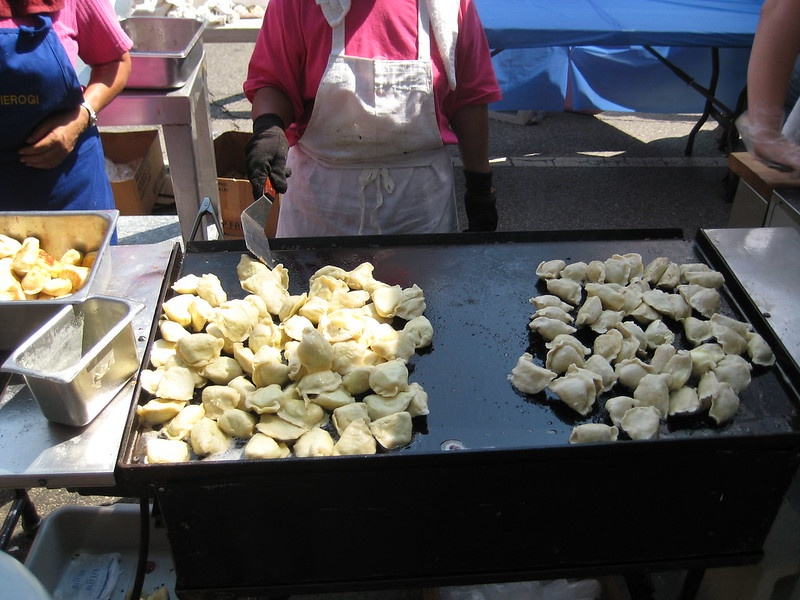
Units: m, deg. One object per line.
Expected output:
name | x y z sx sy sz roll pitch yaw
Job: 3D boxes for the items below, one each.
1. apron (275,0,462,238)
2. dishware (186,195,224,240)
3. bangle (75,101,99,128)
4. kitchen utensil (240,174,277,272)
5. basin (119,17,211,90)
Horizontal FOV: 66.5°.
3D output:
apron | -0.138 -0.815 2.640 0.748 1.056 0.574 -2 39 -7
dishware | -0.754 -0.297 2.389 0.128 0.195 0.119 9 41 -15
bangle | -1.473 -0.886 2.923 0.106 0.108 0.067 -5 21 46
kitchen utensil | -0.557 -0.298 2.312 0.068 0.152 0.292 -5 75 32
basin | -1.465 -1.566 3.818 0.544 0.242 0.732 3 40 -3
